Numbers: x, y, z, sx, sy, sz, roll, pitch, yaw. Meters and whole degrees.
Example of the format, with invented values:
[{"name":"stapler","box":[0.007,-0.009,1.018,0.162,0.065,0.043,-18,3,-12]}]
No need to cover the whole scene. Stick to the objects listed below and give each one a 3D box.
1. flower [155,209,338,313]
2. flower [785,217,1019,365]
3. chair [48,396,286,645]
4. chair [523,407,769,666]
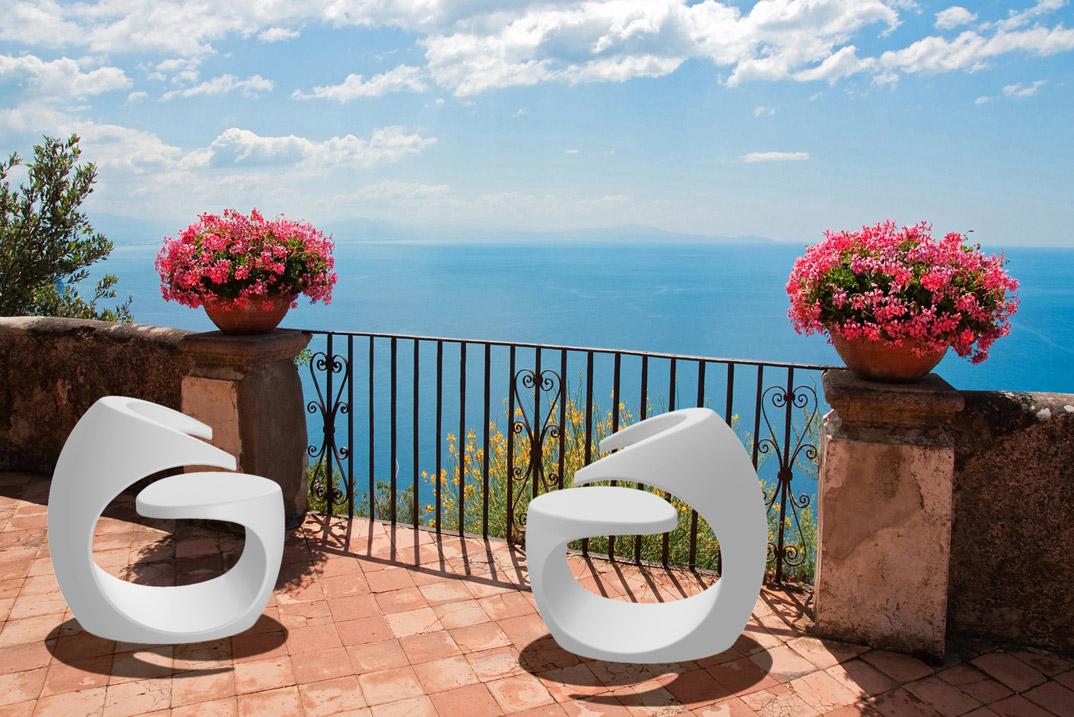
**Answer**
[{"name":"flower","box":[-1.937,-0.609,4.797,0.908,0.630,1.028,-4,11,-42]},{"name":"flower","box":[1.928,-0.317,3.812,0.725,0.518,0.765,-1,5,-31]},{"name":"chair","box":[-2.081,0.952,4.266,1.225,1.220,0.762,-1,1,-28]},{"name":"chair","box":[0.586,0.984,4.165,1.321,1.271,0.838,3,3,7]}]
